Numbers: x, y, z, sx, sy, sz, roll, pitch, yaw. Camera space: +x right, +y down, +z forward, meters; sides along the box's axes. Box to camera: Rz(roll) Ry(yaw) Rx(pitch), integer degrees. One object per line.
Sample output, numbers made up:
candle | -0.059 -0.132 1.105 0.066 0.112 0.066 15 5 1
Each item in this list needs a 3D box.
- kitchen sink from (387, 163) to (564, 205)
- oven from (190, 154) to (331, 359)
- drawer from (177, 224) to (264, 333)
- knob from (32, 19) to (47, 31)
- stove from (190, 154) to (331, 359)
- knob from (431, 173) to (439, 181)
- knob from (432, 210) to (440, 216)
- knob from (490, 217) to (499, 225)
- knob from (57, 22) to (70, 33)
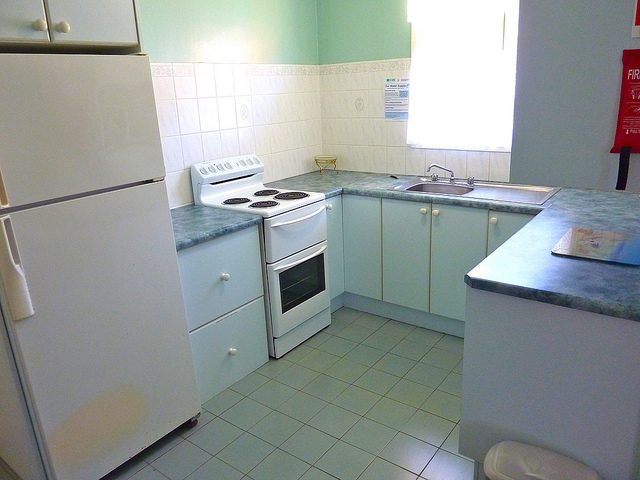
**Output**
kitchen sink | 0.957 -0.341 2.748 1.085 0.177 0.702 9 17 28
oven | -0.389 0.148 3.381 0.784 1.416 0.953 16 24 33
drawer | -0.701 0.166 2.735 0.578 0.553 0.422 -20 27 -39
knob | -1.059 -0.815 1.666 0.029 0.042 0.042 -2 -3 38
stove | -0.382 -0.021 3.322 0.784 1.416 0.953 16 24 33
knob | 0.914 -0.501 3.457 0.079 0.076 0.054 9 14 41
knob | 0.785 -0.186 2.964 0.033 0.035 0.033 -5 10 35
knob | 1.105 -0.123 2.776 0.052 0.047 0.018 5 23 24
knob | -1.008 -0.834 1.726 0.043 0.036 0.020 -13 23 -21
